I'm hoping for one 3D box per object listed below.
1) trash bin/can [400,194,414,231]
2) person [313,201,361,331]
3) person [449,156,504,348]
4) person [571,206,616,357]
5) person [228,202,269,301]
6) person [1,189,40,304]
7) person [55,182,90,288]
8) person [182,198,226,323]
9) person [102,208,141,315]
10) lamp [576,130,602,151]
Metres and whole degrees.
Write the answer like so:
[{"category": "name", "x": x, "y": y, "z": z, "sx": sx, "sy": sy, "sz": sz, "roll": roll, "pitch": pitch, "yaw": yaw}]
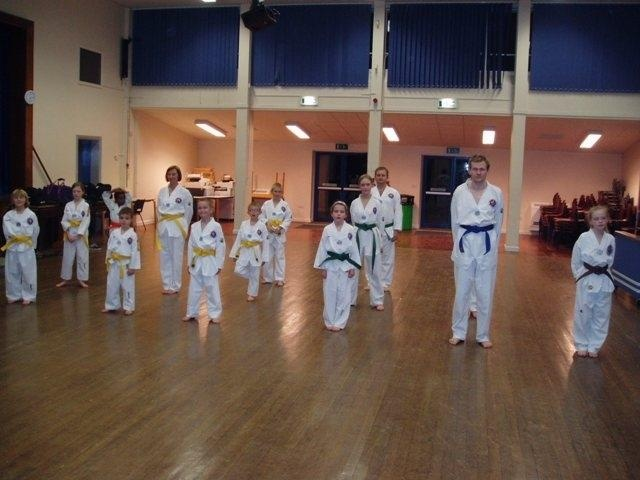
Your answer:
[{"category": "trash bin/can", "x": 2.729, "y": -0.858, "z": 14.739, "sx": 0.387, "sy": 1.091, "sz": 0.686, "roll": 3, "pitch": 7, "yaw": 6}, {"category": "person", "x": 0.195, "y": 0.355, "z": 5.085, "sx": 0.508, "sy": 1.194, "sz": 0.342, "roll": 2, "pitch": 7, "yaw": -2}, {"category": "person", "x": 1.508, "y": 0.127, "z": 4.566, "sx": 0.489, "sy": 1.853, "sz": 0.332, "roll": 3, "pitch": 7, "yaw": 12}, {"category": "person", "x": 2.632, "y": 0.393, "z": 4.518, "sx": 0.374, "sy": 1.432, "sz": 0.328, "roll": 3, "pitch": 7, "yaw": 9}, {"category": "person", "x": -0.941, "y": 0.122, "z": 6.292, "sx": 0.466, "sy": 1.256, "sz": 0.658, "roll": 1, "pitch": 7, "yaw": -7}, {"category": "person", "x": -3.683, "y": 0.069, "z": 5.753, "sx": 0.377, "sy": 1.348, "sz": 0.584, "roll": -3, "pitch": 8, "yaw": -35}, {"category": "person", "x": -3.558, "y": -0.092, "z": 6.742, "sx": 0.420, "sy": 1.465, "sz": 1.007, "roll": -1, "pitch": 8, "yaw": -28}, {"category": "person", "x": -1.272, "y": 0.222, "z": 5.173, "sx": 0.411, "sy": 1.338, "sz": 0.265, "roll": 2, "pitch": 7, "yaw": -1}, {"category": "person", "x": -2.263, "y": 0.232, "z": 5.360, "sx": 0.433, "sy": 1.211, "sz": 0.270, "roll": 5, "pitch": 8, "yaw": 26}, {"category": "lamp", "x": 7.328, "y": -2.726, "z": 12.713, "sx": 0.346, "sy": 0.124, "sz": 0.853, "roll": 7, "pitch": -15, "yaw": 4}]
